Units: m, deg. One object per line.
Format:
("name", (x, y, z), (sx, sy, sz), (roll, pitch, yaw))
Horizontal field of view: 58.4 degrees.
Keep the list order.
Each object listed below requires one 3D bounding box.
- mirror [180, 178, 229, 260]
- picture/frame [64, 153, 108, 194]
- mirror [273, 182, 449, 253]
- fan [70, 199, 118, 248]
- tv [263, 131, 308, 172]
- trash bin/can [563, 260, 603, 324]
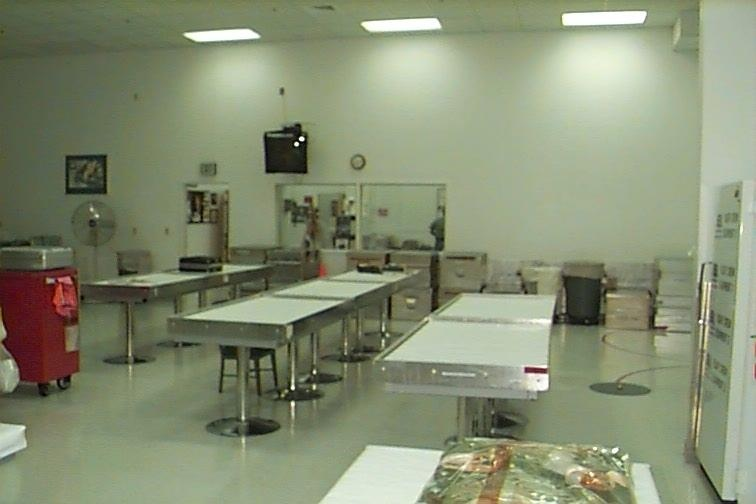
("mirror", (-3.466, -0.620, 13.635), (0.305, 1.499, 1.027), (8, 13, 33))
("picture/frame", (-5.883, -1.567, 13.630), (0.075, 0.759, 0.940), (10, 11, 30))
("mirror", (-0.348, -0.652, 12.345), (3.092, 1.207, 0.286), (2, 12, 12))
("fan", (-5.520, -0.569, 13.094), (0.865, 0.865, 0.281), (2, 12, 8))
("tv", (-1.679, -1.826, 12.364), (0.769, 0.710, 0.134), (2, 12, 10))
("trash bin/can", (3.392, 0.697, 11.396), (0.736, 0.916, 0.701), (2, -1, 29))
